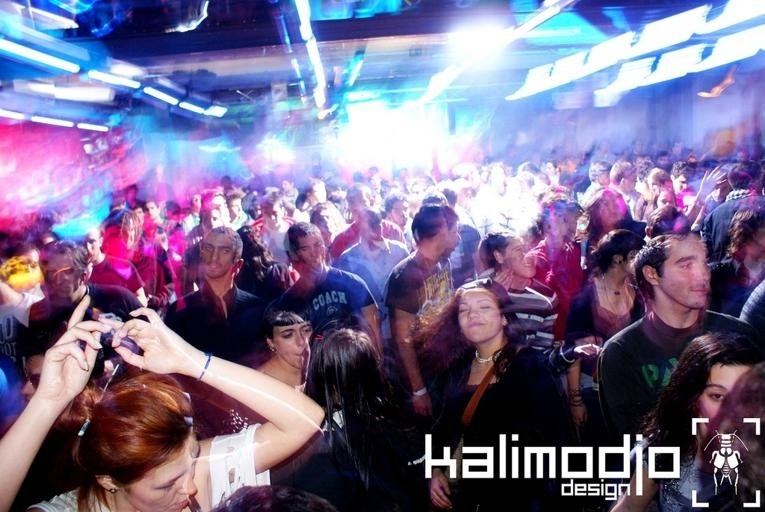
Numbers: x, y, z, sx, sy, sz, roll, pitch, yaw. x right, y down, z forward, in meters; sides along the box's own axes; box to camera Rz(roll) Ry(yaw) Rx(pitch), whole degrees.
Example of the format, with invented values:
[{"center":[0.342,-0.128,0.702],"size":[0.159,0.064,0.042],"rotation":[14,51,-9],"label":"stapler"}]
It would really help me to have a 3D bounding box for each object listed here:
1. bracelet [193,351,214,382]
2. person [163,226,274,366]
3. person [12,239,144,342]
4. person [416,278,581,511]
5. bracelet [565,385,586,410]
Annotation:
[{"center":[-0.859,0.539,2.347],"size":[0.109,0.113,0.031],"rotation":[18,15,35],"label":"bracelet"},{"center":[-1.336,0.345,4.027],"size":[1.098,1.253,0.638],"rotation":[0,-15,-3],"label":"person"},{"center":[-2.427,0.266,3.793],"size":[0.724,0.513,0.350],"rotation":[-22,3,-15],"label":"person"},{"center":[0.809,1.018,3.397],"size":[1.176,1.185,0.352],"rotation":[-29,-25,25],"label":"person"},{"center":[1.578,1.167,3.961],"size":[0.104,0.167,0.167],"rotation":[-5,10,19],"label":"bracelet"}]
